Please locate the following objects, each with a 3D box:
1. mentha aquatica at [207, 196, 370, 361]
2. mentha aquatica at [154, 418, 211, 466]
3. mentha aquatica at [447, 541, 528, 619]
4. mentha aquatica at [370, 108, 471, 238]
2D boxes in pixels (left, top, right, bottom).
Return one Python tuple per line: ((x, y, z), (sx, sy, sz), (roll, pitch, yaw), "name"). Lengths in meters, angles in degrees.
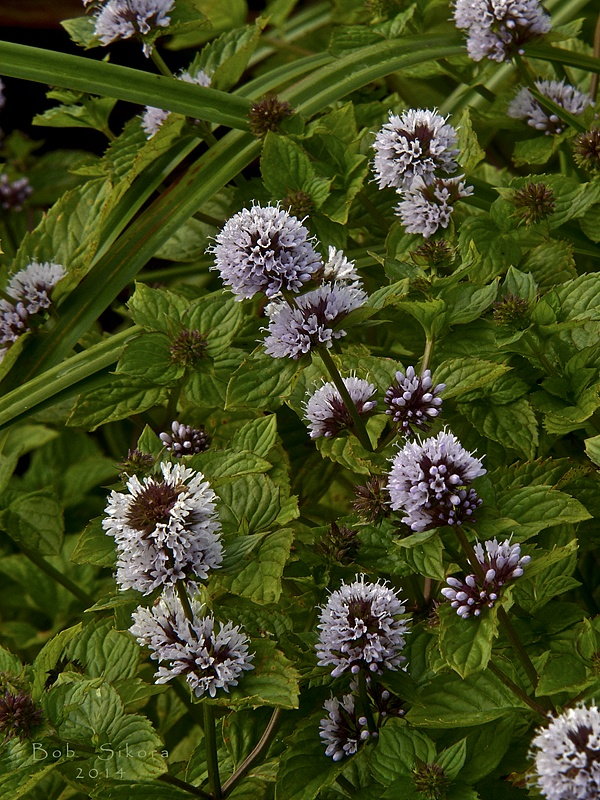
((-0.015, -0.169, 1.154), (0.219, 0.188, 0.160), (-1, 55, 3), "mentha aquatica")
((-0.216, 0.072, 1.486), (0.084, 0.047, 0.081), (0, 21, -30), "mentha aquatica")
((0.242, 0.234, 1.038), (0.073, 0.062, 0.113), (30, 61, 22), "mentha aquatica")
((0.237, -0.450, 1.533), (0.187, 0.206, 0.223), (0, 55, 5), "mentha aquatica")
